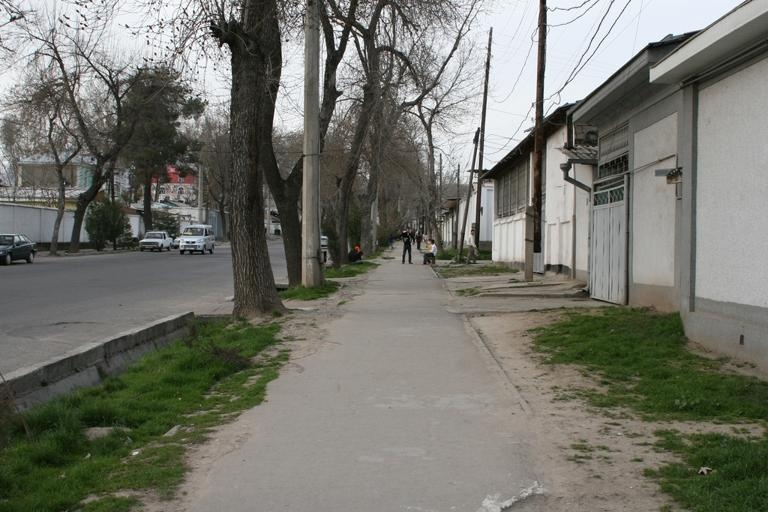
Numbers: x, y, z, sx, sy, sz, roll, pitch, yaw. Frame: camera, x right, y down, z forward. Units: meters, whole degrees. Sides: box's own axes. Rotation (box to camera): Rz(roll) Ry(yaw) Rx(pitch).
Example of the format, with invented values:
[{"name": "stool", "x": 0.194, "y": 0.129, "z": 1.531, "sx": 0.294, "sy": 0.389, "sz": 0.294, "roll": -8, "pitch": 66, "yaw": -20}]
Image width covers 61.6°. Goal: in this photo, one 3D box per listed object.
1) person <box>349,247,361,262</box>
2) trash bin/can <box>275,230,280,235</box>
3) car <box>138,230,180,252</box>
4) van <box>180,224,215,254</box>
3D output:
[{"name": "person", "x": -1.620, "y": -0.009, "z": 37.060, "sx": 0.523, "sy": 0.394, "sz": 0.855, "roll": -1, "pitch": 5, "yaw": 23}, {"name": "trash bin/can", "x": -20.965, "y": -4.646, "z": 127.487, "sx": 1.097, "sy": 1.279, "sz": 0.860, "roll": 1, "pitch": 7, "yaw": 5}, {"name": "car", "x": -19.930, "y": -1.197, "z": 57.529, "sx": 1.732, "sy": 1.950, "sz": 5.940, "roll": -2, "pitch": 9, "yaw": -7}, {"name": "van", "x": -15.330, "y": -1.345, "z": 53.160, "sx": 1.878, "sy": 2.004, "sz": 3.643, "roll": -1, "pitch": -6, "yaw": 1}]
